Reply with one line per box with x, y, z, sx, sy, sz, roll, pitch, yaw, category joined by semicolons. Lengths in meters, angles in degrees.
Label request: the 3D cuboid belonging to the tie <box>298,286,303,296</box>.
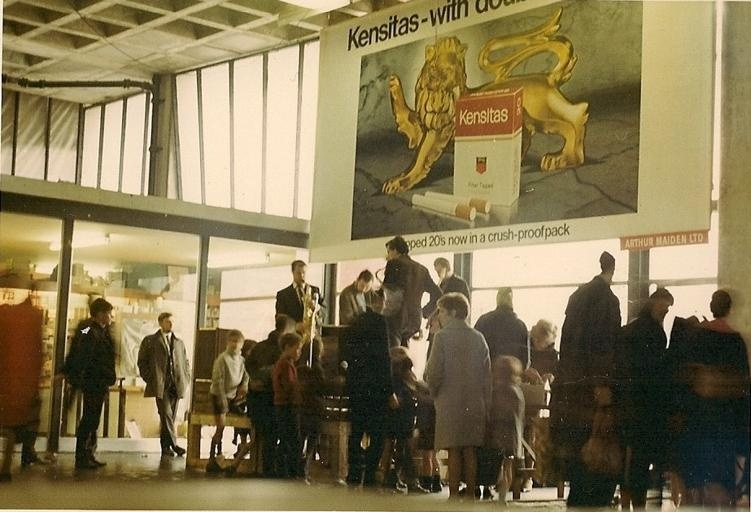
-0.850;0.415;10.410;0.040;0.089;0.063;-1;27;48;tie

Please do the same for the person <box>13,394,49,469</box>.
-3.728;1.920;9.688;0.276;0.657;1.151;-6;3;-22;person

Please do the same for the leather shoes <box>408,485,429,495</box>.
0.440;2.462;9.386;0.246;0.108;0.084;-1;-11;5;leather shoes
